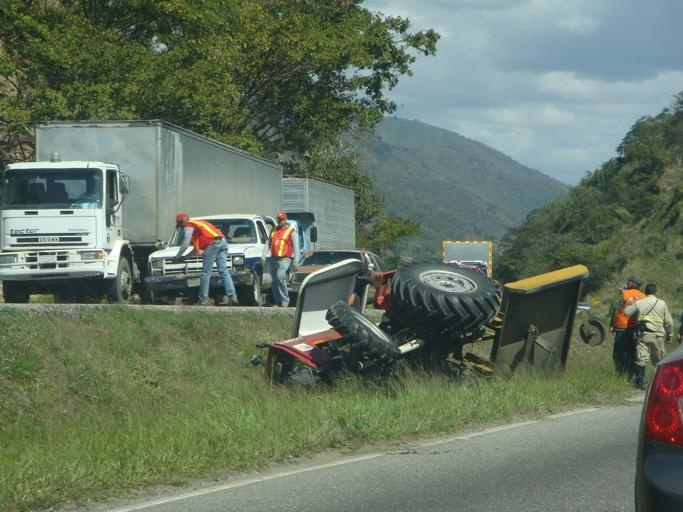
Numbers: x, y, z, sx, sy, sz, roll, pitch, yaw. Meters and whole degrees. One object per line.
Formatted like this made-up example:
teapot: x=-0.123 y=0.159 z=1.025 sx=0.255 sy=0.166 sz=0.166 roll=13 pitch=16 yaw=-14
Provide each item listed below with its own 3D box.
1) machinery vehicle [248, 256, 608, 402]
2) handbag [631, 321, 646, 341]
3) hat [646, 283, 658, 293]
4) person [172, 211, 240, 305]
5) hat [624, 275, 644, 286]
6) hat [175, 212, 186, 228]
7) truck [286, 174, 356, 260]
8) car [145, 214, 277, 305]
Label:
machinery vehicle: x=1.837 y=1.445 z=22.192 sx=4.901 sy=2.222 sz=3.024 roll=11 pitch=6 yaw=-6
handbag: x=6.138 y=1.531 z=23.764 sx=0.107 sy=0.326 sz=0.304 roll=21 pitch=6 yaw=29
hat: x=6.420 y=0.659 z=23.744 sx=0.162 sy=0.242 sz=0.229 roll=3 pitch=18 yaw=4
person: x=-3.205 y=0.110 z=27.004 sx=1.433 sy=2.103 sz=0.828 roll=1 pitch=4 yaw=-17
hat: x=6.128 y=0.481 z=24.180 sx=0.261 sy=0.253 sz=0.229 roll=23 pitch=14 yaw=38
hat: x=-3.809 y=-0.833 z=26.970 sx=0.238 sy=0.351 sz=0.322 roll=-3 pitch=16 yaw=-2
truck: x=-0.920 y=-1.423 z=40.365 sx=1.338 sy=2.288 sz=4.099 roll=-2 pitch=-3 yaw=12
car: x=-2.971 y=0.043 z=28.761 sx=1.628 sy=1.535 sz=3.184 roll=-1 pitch=-4 yaw=11
